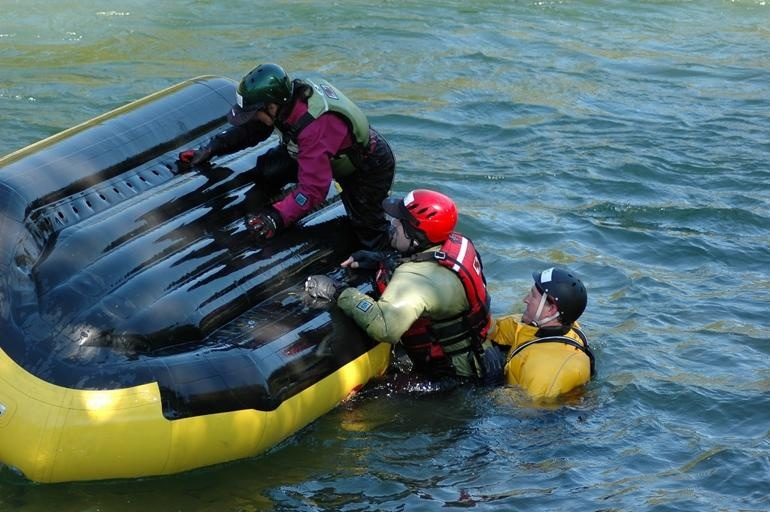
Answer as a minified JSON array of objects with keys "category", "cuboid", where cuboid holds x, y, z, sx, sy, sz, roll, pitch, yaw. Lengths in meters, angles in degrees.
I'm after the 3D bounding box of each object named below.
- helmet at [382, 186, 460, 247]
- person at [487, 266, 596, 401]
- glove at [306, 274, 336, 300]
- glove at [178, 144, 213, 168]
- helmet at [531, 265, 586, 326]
[{"category":"helmet","cuboid":[0.408,-0.450,9.375,0.780,0.278,0.423,16,41,11]},{"category":"person","cuboid":[1.565,0.824,9.610,1.114,0.878,1.131,9,32,0]},{"category":"glove","cuboid":[-0.585,0.301,9.202,0.342,0.102,0.178,18,63,9]},{"category":"glove","cuboid":[-1.870,-0.984,9.660,0.396,0.119,0.164,-18,52,-7]},{"category":"helmet","cuboid":[1.672,0.395,9.518,0.689,0.448,0.448,20,12,14]}]
